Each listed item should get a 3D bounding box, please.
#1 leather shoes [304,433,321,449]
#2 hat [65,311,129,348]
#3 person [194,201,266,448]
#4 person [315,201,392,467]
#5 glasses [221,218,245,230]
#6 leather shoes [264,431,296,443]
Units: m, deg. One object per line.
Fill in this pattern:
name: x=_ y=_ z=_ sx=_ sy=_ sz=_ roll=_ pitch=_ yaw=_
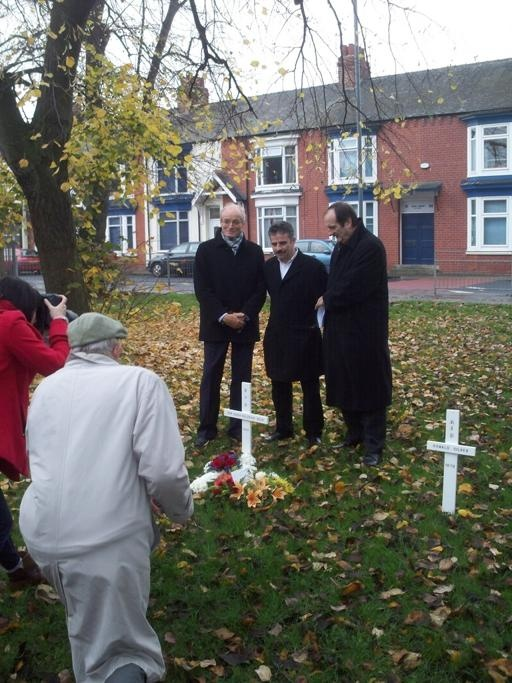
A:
leather shoes: x=0.549 y=0.964 z=5.817 sx=0.107 sy=0.113 sz=0.113 roll=-2 pitch=0 yaw=40
hat: x=-0.614 y=-0.044 z=2.324 sx=0.149 sy=0.082 sz=0.175 roll=-5 pitch=2 yaw=-7
person: x=-0.243 y=-0.160 z=5.861 sx=0.700 sy=2.310 sz=0.440 roll=-1 pitch=3 yaw=0
person: x=0.878 y=-0.090 z=5.293 sx=0.523 sy=2.229 sz=0.579 roll=-4 pitch=4 yaw=-40
glasses: x=-0.216 y=-1.089 z=5.792 sx=0.140 sy=0.157 sz=0.166 roll=2 pitch=9 yaw=3
leather shoes: x=0.228 y=0.951 z=6.036 sx=0.328 sy=0.123 sz=0.104 roll=6 pitch=3 yaw=-7
